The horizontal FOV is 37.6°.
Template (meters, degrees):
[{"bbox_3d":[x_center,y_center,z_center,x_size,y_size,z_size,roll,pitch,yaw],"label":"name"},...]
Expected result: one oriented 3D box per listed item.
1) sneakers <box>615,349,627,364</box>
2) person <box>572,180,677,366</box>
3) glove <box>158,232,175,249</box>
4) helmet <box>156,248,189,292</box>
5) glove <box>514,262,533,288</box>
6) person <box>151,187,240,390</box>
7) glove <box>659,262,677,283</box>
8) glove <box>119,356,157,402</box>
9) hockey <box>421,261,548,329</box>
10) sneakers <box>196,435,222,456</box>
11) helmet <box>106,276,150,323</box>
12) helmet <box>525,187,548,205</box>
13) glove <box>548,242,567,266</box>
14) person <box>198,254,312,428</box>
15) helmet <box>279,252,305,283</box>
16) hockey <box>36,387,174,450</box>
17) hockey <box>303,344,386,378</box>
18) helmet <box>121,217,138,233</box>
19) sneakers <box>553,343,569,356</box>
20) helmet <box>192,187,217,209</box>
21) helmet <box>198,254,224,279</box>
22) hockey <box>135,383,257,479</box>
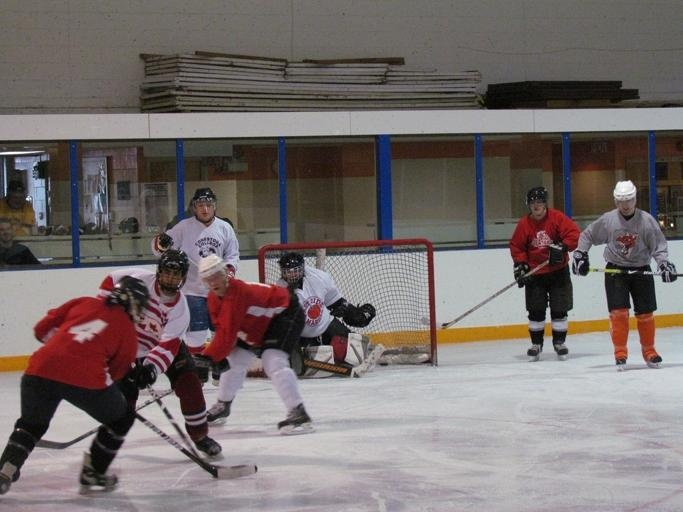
[{"bbox_3d":[2.386,0.881,8.656,0.094,0.128,0.117,1,13,11],"label":"sneakers"},{"bbox_3d":[2.429,0.179,8.688,0.842,1.632,0.445,3,13,19],"label":"person"},{"bbox_3d":[-1.442,-0.120,8.330,0.093,0.136,0.048,1,-17,5],"label":"glove"},{"bbox_3d":[-1.117,0.090,6.676,0.196,0.286,0.273,10,4,-7],"label":"helmet"},{"bbox_3d":[1.665,0.176,9.300,0.083,0.219,0.150,5,-2,39],"label":"glove"},{"bbox_3d":[-1.214,0.253,8.605,0.701,1.663,0.538,-6,13,-22],"label":"person"},{"bbox_3d":[2.768,0.162,8.615,0.125,0.199,0.071,-5,-3,-7],"label":"glove"},{"bbox_3d":[-1.309,0.814,6.567,0.293,0.106,0.209,-45,-23,12],"label":"glove"},{"bbox_3d":[1.364,0.388,9.984,1.003,0.112,0.086,-38,-35,17],"label":"hockey"},{"bbox_3d":[-0.884,1.289,6.805,0.188,0.090,0.091,19,33,25],"label":"sneakers"},{"bbox_3d":[-1.312,0.250,6.285,0.269,0.303,0.230,-1,17,0],"label":"helmet"},{"bbox_3d":[1.804,-0.548,9.339,0.138,0.184,0.187,-2,-28,16],"label":"helmet"},{"bbox_3d":[1.941,-0.020,9.103,0.168,0.185,0.184,1,13,11],"label":"glove"},{"bbox_3d":[-0.675,0.606,7.133,0.920,1.292,0.735,0,11,31],"label":"person"},{"bbox_3d":[-0.411,0.079,8.477,0.198,0.266,0.258,-9,18,-3],"label":"helmet"},{"bbox_3d":[-1.585,1.108,6.736,0.816,0.062,0.125,-32,40,-8],"label":"hockey"},{"bbox_3d":[-0.021,0.898,8.719,0.484,0.253,0.305,0,-4,-3],"label":"hockey"},{"bbox_3d":[-2.032,-0.291,9.698,0.154,0.164,0.114,0,4,-6],"label":"helmet"},{"bbox_3d":[2.014,0.883,9.296,0.126,0.144,0.190,1,13,9],"label":"sneakers"},{"bbox_3d":[-1.157,-0.507,8.525,0.157,0.181,0.194,0,-24,-8],"label":"helmet"},{"bbox_3d":[-0.902,0.070,6.955,0.133,0.140,0.172,-27,-7,-8],"label":"helmet"},{"bbox_3d":[-1.012,1.159,6.599,0.856,0.563,0.573,8,15,34],"label":"hockey"}]
